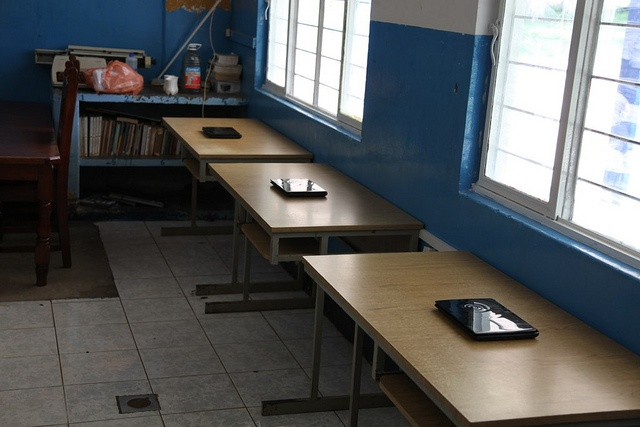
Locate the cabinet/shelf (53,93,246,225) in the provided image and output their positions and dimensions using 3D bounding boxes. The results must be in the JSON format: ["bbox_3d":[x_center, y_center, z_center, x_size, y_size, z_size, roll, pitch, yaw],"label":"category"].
[{"bbox_3d":[-1.728,-0.612,5.546,2.655,1.482,1.257,-1,12,-12],"label":"cabinet/shelf"}]

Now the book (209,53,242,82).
[{"bbox_3d":[-0.988,-1.522,5.226,0.317,0.241,0.393,-1,17,-13],"label":"book"}]

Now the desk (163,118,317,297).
[{"bbox_3d":[-0.607,-0.035,3.814,0.973,0.900,1.557,-1,16,-16],"label":"desk"}]
